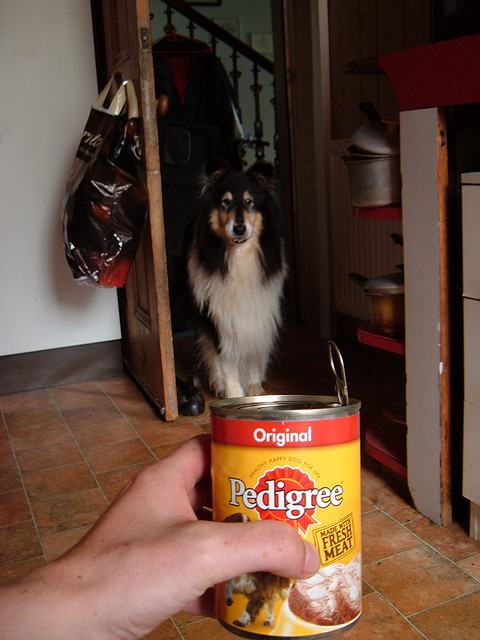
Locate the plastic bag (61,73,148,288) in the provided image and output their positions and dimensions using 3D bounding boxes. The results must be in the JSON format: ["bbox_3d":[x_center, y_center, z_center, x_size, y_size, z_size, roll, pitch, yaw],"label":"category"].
[{"bbox_3d":[-0.565,-0.553,2.314,0.434,0.854,0.147,3,15,18],"label":"plastic bag"}]

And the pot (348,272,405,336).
[{"bbox_3d":[0.465,-0.064,1.831,0.166,0.178,0.265,-8,6,-18],"label":"pot"}]

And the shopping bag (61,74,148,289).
[{"bbox_3d":[-0.568,-0.591,2.358,0.334,0.978,0.661,2,34,-26],"label":"shopping bag"}]

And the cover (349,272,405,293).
[{"bbox_3d":[0.437,-0.118,1.763,0.139,0.056,0.095,-6,10,36],"label":"cover"}]

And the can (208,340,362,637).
[{"bbox_3d":[0.040,0.176,0.494,0.137,0.214,0.092,-1,14,6],"label":"can"}]
